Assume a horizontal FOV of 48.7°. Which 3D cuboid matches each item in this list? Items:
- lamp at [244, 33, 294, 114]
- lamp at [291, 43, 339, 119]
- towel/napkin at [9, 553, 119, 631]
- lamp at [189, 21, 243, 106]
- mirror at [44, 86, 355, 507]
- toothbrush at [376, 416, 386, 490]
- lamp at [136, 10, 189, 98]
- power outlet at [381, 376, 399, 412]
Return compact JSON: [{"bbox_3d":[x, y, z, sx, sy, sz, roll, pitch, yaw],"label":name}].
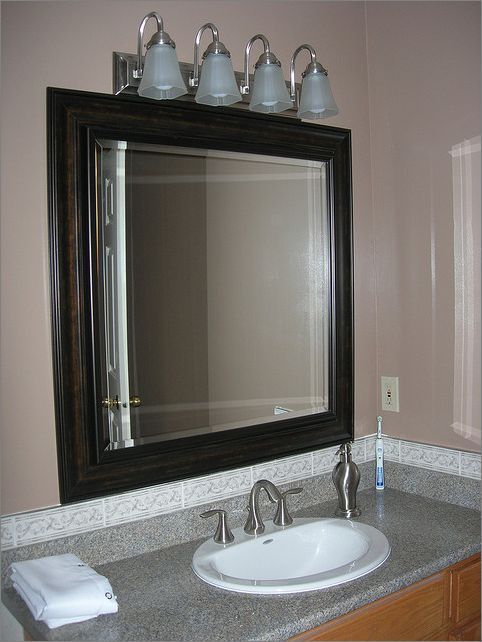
[{"bbox_3d":[0.062,-0.618,1.313,0.112,0.196,0.098,-4,0,-7],"label":"lamp"},{"bbox_3d":[0.184,-0.622,1.376,0.110,0.184,0.092,-3,1,-6],"label":"lamp"},{"bbox_3d":[-0.360,0.526,1.064,0.153,0.121,0.242,0,1,-37],"label":"towel/napkin"},{"bbox_3d":[-0.060,-0.616,1.259,0.116,0.202,0.106,-1,0,-3],"label":"lamp"},{"bbox_3d":[-0.062,-0.081,1.417,0.859,0.915,0.051,-3,4,-28],"label":"mirror"},{"bbox_3d":[0.471,0.441,1.794,0.031,0.180,0.096,0,0,15],"label":"toothbrush"},{"bbox_3d":[-0.188,-0.633,1.245,0.115,0.192,0.176,0,0,-6],"label":"lamp"},{"bbox_3d":[0.508,0.248,1.805,0.007,0.089,0.073,0,0,-33],"label":"power outlet"}]
